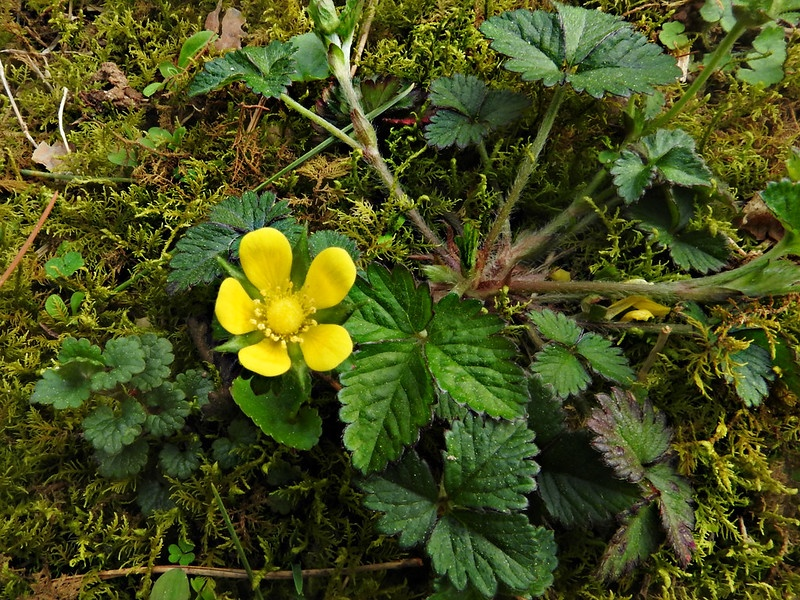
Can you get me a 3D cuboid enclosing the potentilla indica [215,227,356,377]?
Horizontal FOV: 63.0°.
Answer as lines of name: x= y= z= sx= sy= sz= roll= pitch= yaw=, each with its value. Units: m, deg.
potentilla indica: x=-0.542 y=0.054 z=2.981 sx=0.829 sy=0.290 sz=0.667 roll=-6 pitch=78 yaw=21
